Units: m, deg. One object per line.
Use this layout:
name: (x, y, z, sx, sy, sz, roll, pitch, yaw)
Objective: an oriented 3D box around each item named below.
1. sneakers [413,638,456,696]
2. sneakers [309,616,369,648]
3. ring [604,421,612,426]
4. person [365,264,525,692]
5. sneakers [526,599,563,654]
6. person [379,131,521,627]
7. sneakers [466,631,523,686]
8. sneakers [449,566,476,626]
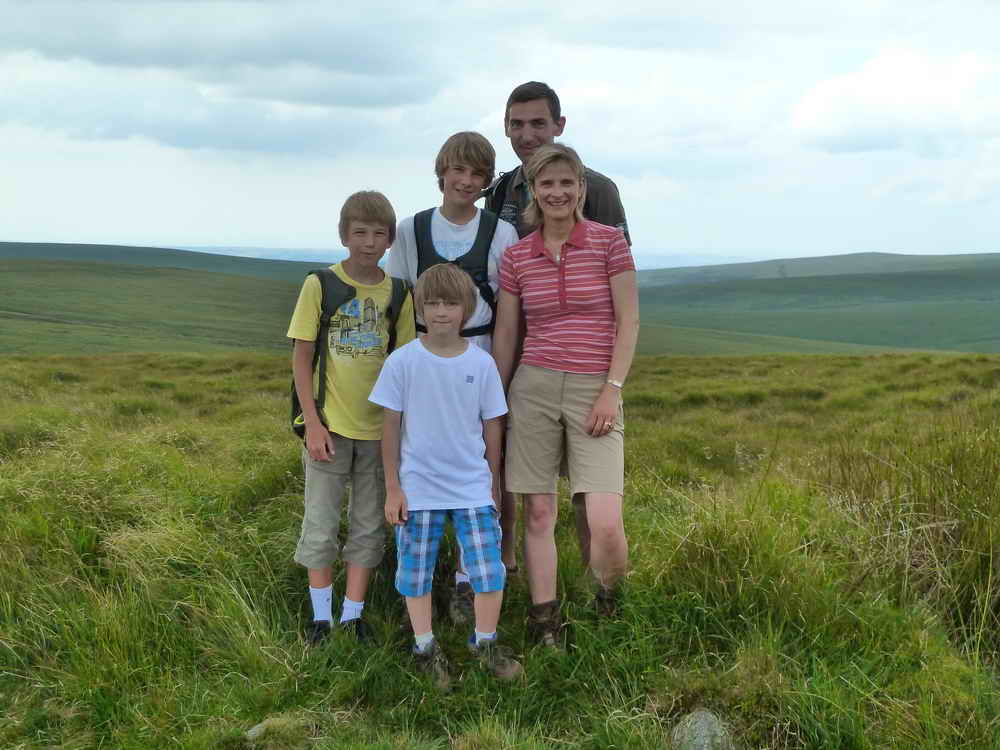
sneakers: (-0.423, 1.846, 5.266, 0.171, 0.139, 0.321, -22, 60, -36)
sneakers: (-1.105, 1.714, 5.531, 0.441, 0.194, 0.155, 7, -18, -9)
ring: (0.684, 0.303, 5.258, 0.047, 0.036, 0.013, -6, 8, -44)
person: (-0.366, 0.611, 5.228, 0.841, 2.604, 0.566, -1, 5, -10)
sneakers: (0.292, 1.613, 5.302, 0.183, 0.311, 0.294, -2, -13, -5)
person: (-0.301, -0.151, 6.088, 0.871, 3.178, 0.801, -1, 27, 6)
sneakers: (-0.010, 1.807, 5.235, 0.176, 0.193, 0.424, -31, 39, -28)
sneakers: (-0.284, 1.583, 5.901, 0.115, 0.377, 0.145, -1, -26, 0)
